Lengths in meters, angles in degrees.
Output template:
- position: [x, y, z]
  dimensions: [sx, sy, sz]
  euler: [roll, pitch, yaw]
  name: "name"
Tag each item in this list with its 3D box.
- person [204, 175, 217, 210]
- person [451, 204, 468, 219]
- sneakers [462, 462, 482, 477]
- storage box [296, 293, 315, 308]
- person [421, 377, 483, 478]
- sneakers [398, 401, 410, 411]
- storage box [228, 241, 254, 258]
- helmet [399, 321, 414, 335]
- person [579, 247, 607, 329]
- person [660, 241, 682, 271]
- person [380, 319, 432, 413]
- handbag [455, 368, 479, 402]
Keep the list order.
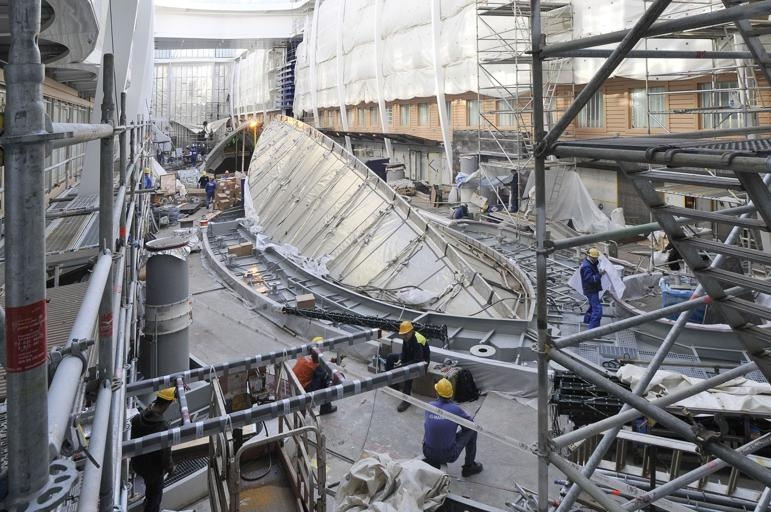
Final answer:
- position: [-9.210, -3.206, 29.723]
  dimensions: [0.466, 1.405, 1.032]
  euler: [-2, 14, -17]
  name: "person"
- position: [2.665, -1.659, 20.925]
  dimensions: [0.531, 0.307, 0.801]
  euler: [-2, 9, -9]
  name: "person"
- position: [1.175, 2.921, 7.795]
  dimensions: [0.354, 0.145, 0.120]
  euler: [-6, 7, -23]
  name: "sneakers"
- position: [-1.824, 1.014, 12.833]
  dimensions: [0.406, 0.233, 0.506]
  euler: [0, 13, -9]
  name: "storage box"
- position: [0.883, 2.341, 7.652]
  dimensions: [0.565, 1.392, 0.900]
  euler: [13, 17, 41]
  name: "person"
- position: [0.285, 2.501, 9.444]
  dimensions: [0.115, 0.201, 0.296]
  euler: [-6, -13, 32]
  name: "sneakers"
- position: [-4.620, -0.205, 17.715]
  dimensions: [0.775, 0.502, 0.421]
  euler: [-7, 7, -41]
  name: "storage box"
- position: [0.324, 1.196, 9.509]
  dimensions: [0.208, 0.125, 0.250]
  euler: [-10, 6, 6]
  name: "helmet"
- position: [4.010, 0.637, 11.145]
  dimensions: [0.528, 1.382, 1.294]
  euler: [7, 14, 20]
  name: "person"
- position: [6.830, 0.018, 13.580]
  dimensions: [0.400, 0.585, 2.069]
  euler: [8, 14, 25]
  name: "person"
- position: [0.341, 1.800, 9.630]
  dimensions: [0.714, 1.408, 1.319]
  euler: [2, 13, 0]
  name: "person"
- position: [1.321, 2.185, 9.635]
  dimensions: [0.422, 0.524, 0.176]
  euler: [-16, 8, -24]
  name: "handbag"
